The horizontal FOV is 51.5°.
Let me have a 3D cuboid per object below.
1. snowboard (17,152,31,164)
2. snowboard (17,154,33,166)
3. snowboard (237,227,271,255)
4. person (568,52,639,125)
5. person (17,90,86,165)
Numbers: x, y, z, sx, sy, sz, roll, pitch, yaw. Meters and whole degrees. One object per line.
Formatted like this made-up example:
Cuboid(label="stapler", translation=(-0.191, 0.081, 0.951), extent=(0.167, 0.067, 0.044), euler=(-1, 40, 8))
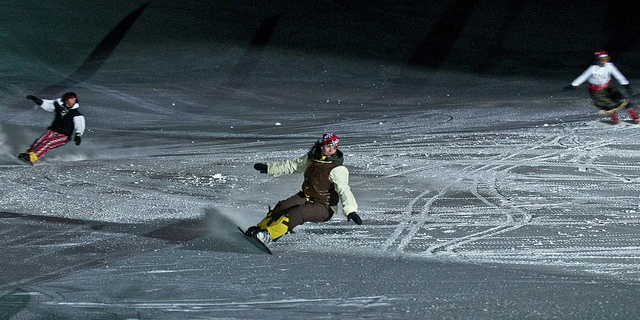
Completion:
Cuboid(label="snowboard", translation=(-7.531, -0.058, 16.758), extent=(0.296, 0.296, 0.275), euler=(3, 5, -21))
Cuboid(label="snowboard", translation=(-7.524, -0.014, 16.806), extent=(0.342, 0.288, 0.350), euler=(3, 5, -20))
Cuboid(label="snowboard", translation=(-1.386, 1.571, 12.990), extent=(0.986, 0.240, 0.322), euler=(21, 45, 36))
Cuboid(label="person", translation=(8.531, -2.075, 19.328), extent=(1.932, 2.042, 1.188), euler=(1, 7, -41))
Cuboid(label="person", translation=(-6.998, -0.851, 17.256), extent=(1.453, 1.895, 1.212), euler=(4, 5, -16))
